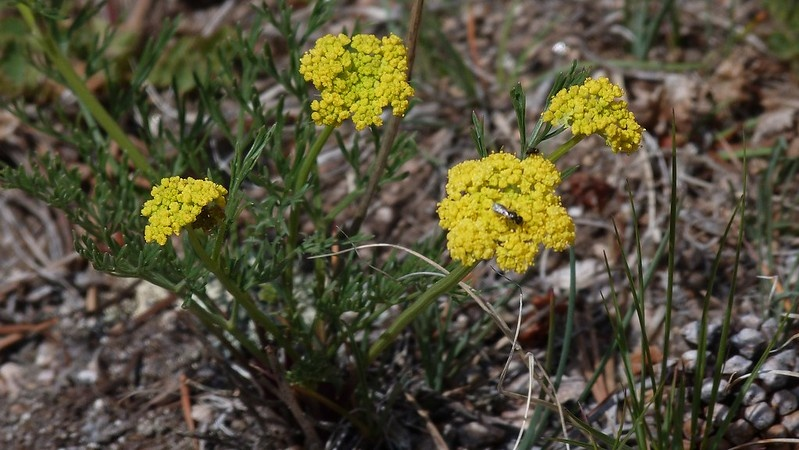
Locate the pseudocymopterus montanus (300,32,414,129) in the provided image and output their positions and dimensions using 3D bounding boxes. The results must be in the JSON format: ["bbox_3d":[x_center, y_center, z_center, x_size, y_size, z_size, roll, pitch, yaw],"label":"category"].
[{"bbox_3d":[-0.225,-0.775,3.846,0.558,0.225,0.548,23,84,7],"label":"pseudocymopterus montanus"}]

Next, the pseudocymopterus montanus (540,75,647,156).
[{"bbox_3d":[1.066,-0.588,3.750,0.534,0.383,0.348,25,54,5],"label":"pseudocymopterus montanus"}]

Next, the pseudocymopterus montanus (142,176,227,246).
[{"bbox_3d":[-1.141,-0.071,3.735,0.382,0.137,0.407,32,74,13],"label":"pseudocymopterus montanus"}]
